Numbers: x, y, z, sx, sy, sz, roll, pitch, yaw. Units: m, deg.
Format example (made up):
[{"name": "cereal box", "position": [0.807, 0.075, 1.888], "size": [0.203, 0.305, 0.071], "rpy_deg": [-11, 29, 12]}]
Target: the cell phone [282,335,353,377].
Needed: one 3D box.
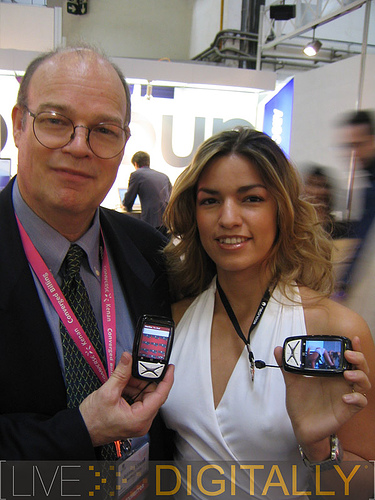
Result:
[{"name": "cell phone", "position": [0.373, 0.312, 1.366], "size": [0.224, 0.121, 0.055], "rpy_deg": [8, -7, -11]}]

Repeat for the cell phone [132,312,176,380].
[{"name": "cell phone", "position": [-0.107, 0.308, 1.436], "size": [0.122, 0.161, 0.161], "rpy_deg": [1, 18, 0]}]

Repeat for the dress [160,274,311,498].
[{"name": "dress", "position": [0.172, 0.528, 1.762], "size": [0.552, 0.669, 0.776], "rpy_deg": [3, 18, 6]}]
